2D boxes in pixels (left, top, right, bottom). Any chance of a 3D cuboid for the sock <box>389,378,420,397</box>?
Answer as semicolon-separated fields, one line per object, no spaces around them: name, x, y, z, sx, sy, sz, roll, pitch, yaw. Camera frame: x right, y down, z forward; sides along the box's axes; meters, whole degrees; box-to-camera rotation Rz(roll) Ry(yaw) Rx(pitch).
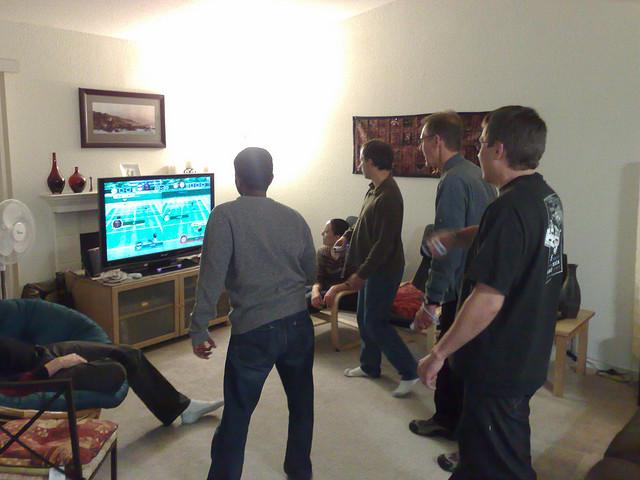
sock;0.620;1.094;3.829;0.249;0.078;0.091;-35;0;-24

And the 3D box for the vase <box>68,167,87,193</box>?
vase;-2.218;-0.527;4.667;0.183;0.278;0.186;-2;8;-16

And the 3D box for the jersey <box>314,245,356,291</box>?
jersey;0.147;0.264;4.588;0.376;0.394;0.215;3;8;15

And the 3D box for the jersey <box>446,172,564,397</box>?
jersey;0.894;0.214;2.377;0.502;1.037;0.251;-2;11;-8

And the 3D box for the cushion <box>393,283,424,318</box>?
cushion;0.818;0.485;4.433;0.347;0.132;0.415;-4;25;26

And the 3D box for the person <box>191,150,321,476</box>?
person;-0.347;0.454;2.750;0.682;1.839;0.407;-2;10;-5

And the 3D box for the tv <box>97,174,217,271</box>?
tv;-1.483;-0.151;4.480;0.840;0.610;0.060;-8;13;-44

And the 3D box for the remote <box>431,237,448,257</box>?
remote;0.642;0.044;2.768;0.023;0.089;0.088;-33;16;5

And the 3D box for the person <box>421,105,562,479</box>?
person;0.811;0.276;2.407;0.592;1.770;0.374;3;11;20

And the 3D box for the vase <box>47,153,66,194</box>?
vase;-2.396;-0.602;4.622;0.138;0.363;0.187;-5;11;-22

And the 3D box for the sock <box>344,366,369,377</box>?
sock;0.293;1.042;4.108;0.198;0.083;0.071;5;-3;8

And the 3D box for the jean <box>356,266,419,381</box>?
jean;0.479;0.526;3.872;0.432;1.044;0.383;-2;-4;44
